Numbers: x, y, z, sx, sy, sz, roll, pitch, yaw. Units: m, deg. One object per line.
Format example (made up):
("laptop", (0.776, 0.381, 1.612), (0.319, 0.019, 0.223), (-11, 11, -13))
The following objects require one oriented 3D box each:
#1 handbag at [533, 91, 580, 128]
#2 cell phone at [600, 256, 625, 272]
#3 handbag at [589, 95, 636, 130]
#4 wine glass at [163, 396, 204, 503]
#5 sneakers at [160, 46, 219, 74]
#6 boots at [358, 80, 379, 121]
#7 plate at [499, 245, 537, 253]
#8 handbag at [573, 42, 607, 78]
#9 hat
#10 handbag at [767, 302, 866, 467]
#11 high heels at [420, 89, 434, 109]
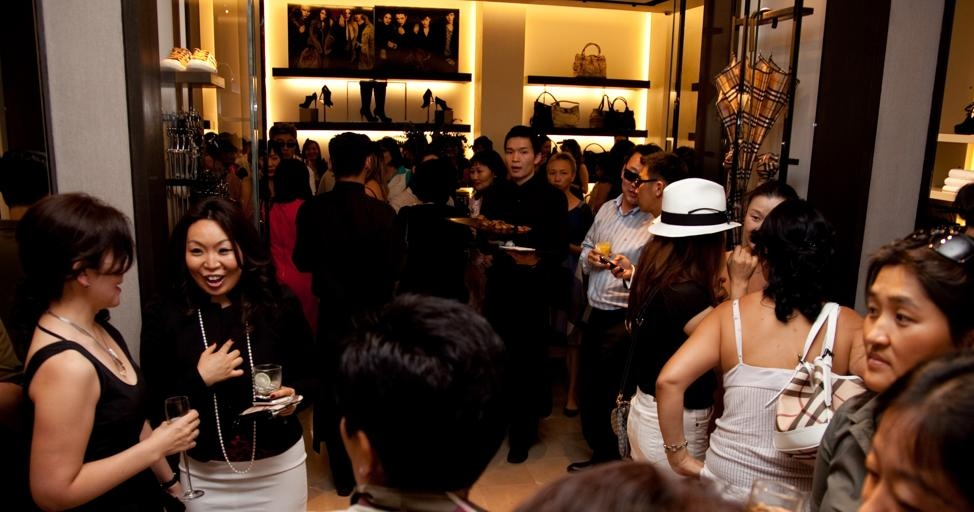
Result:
("handbag", (1.061, -2.329, 10.071), (0.718, 0.557, 0.262), (1, 14, -10))
("cell phone", (0.956, 0.050, 4.849), (0.080, 0.088, 0.189), (-10, 18, -41))
("handbag", (1.996, -2.327, 10.244), (0.651, 0.543, 0.314), (0, 16, 3))
("wine glass", (-1.593, 1.008, 3.332), (0.142, 0.630, 0.225), (-3, 15, -21))
("sneakers", (-2.032, -1.351, 4.323), (0.205, 0.109, 0.311), (1, 0, -3))
("boots", (-1.815, -2.413, 9.852), (0.321, 0.620, 0.319), (13, 18, 37))
("plate", (0.232, -0.057, 4.868), (0.284, 0.038, 0.114), (-4, 15, -23))
("handbag", (1.639, -3.182, 10.280), (0.673, 0.683, 0.272), (1, -10, -5))
("hat", (1.244, -0.286, 3.872), (0.446, 0.217, 0.382), (-7, 9, 7))
("handbag", (1.624, 0.648, 3.128), (0.469, 0.747, 0.323), (-3, 15, -21))
("high heels", (-0.979, -2.550, 10.221), (0.151, 0.342, 0.108), (16, 16, 11))
